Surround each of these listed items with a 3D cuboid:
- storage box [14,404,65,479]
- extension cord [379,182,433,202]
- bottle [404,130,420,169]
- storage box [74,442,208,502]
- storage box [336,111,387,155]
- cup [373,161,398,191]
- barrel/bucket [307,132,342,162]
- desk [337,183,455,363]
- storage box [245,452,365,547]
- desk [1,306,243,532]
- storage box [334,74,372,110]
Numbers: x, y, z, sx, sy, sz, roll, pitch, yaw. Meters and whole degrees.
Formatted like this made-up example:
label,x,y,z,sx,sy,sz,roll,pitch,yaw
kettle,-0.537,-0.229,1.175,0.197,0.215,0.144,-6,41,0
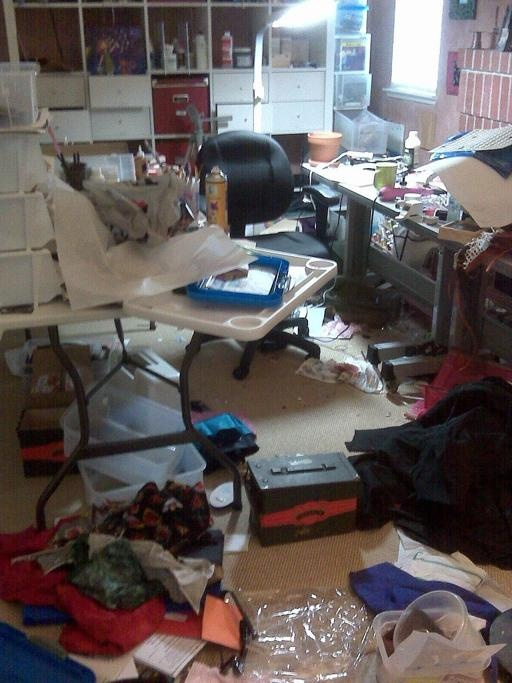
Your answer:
label,x,y,z,sx,sy,sz,roll,pitch,yaw
storage box,-0.639,0.294,1.594,0.191,0.209,0.053,-2,8,-12
extension cord,0.657,-0.650,2.313,0.187,0.055,0.251,13,24,36
bottle,0.825,-1.027,2.833,0.076,0.189,0.303,3,20,14
storage box,-0.298,0.339,1.415,0.251,0.086,0.170,-6,20,-19
storage box,0.772,-1.547,3.894,0.280,0.326,0.764,-2,19,0
cup,0.576,-0.743,2.374,0.090,0.141,0.145,6,15,13
barrel/bucket,0.406,-1.202,3.146,0.195,0.154,0.205,-1,34,1
desk,0.646,-0.305,2.446,0.395,0.370,0.770,-13,45,-20
storage box,0.125,0.407,1.396,0.254,0.176,0.144,-6,19,-11
desk,-0.393,0.123,1.523,0.552,0.627,0.692,-11,21,-26
storage box,0.759,-2.006,4.237,0.266,0.266,0.277,-1,37,2
